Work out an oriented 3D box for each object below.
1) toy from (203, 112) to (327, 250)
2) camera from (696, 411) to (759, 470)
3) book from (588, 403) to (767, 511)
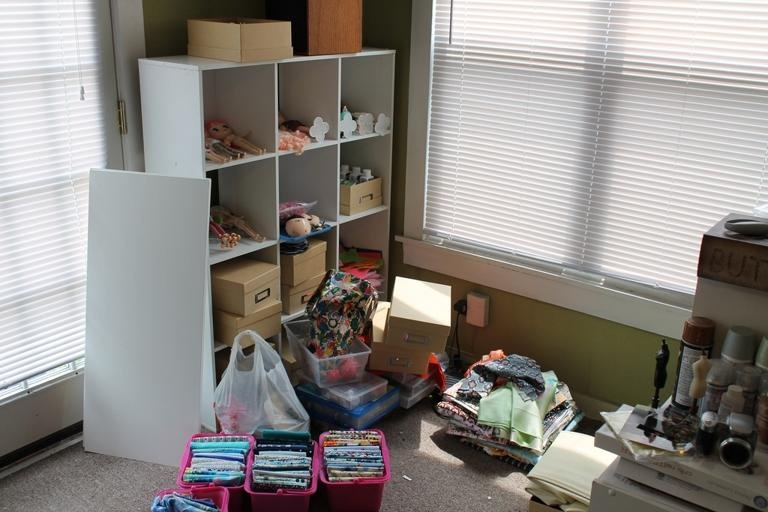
[{"bbox_3d":[-0.631,-0.374,3.108,0.660,0.666,0.460,-8,26,-23],"label":"toy"},{"bbox_3d":[1.174,0.620,1.993,0.186,0.143,0.151,7,16,39],"label":"camera"},{"bbox_3d":[0.983,0.655,2.125,0.548,0.102,0.282,13,26,29],"label":"book"}]
